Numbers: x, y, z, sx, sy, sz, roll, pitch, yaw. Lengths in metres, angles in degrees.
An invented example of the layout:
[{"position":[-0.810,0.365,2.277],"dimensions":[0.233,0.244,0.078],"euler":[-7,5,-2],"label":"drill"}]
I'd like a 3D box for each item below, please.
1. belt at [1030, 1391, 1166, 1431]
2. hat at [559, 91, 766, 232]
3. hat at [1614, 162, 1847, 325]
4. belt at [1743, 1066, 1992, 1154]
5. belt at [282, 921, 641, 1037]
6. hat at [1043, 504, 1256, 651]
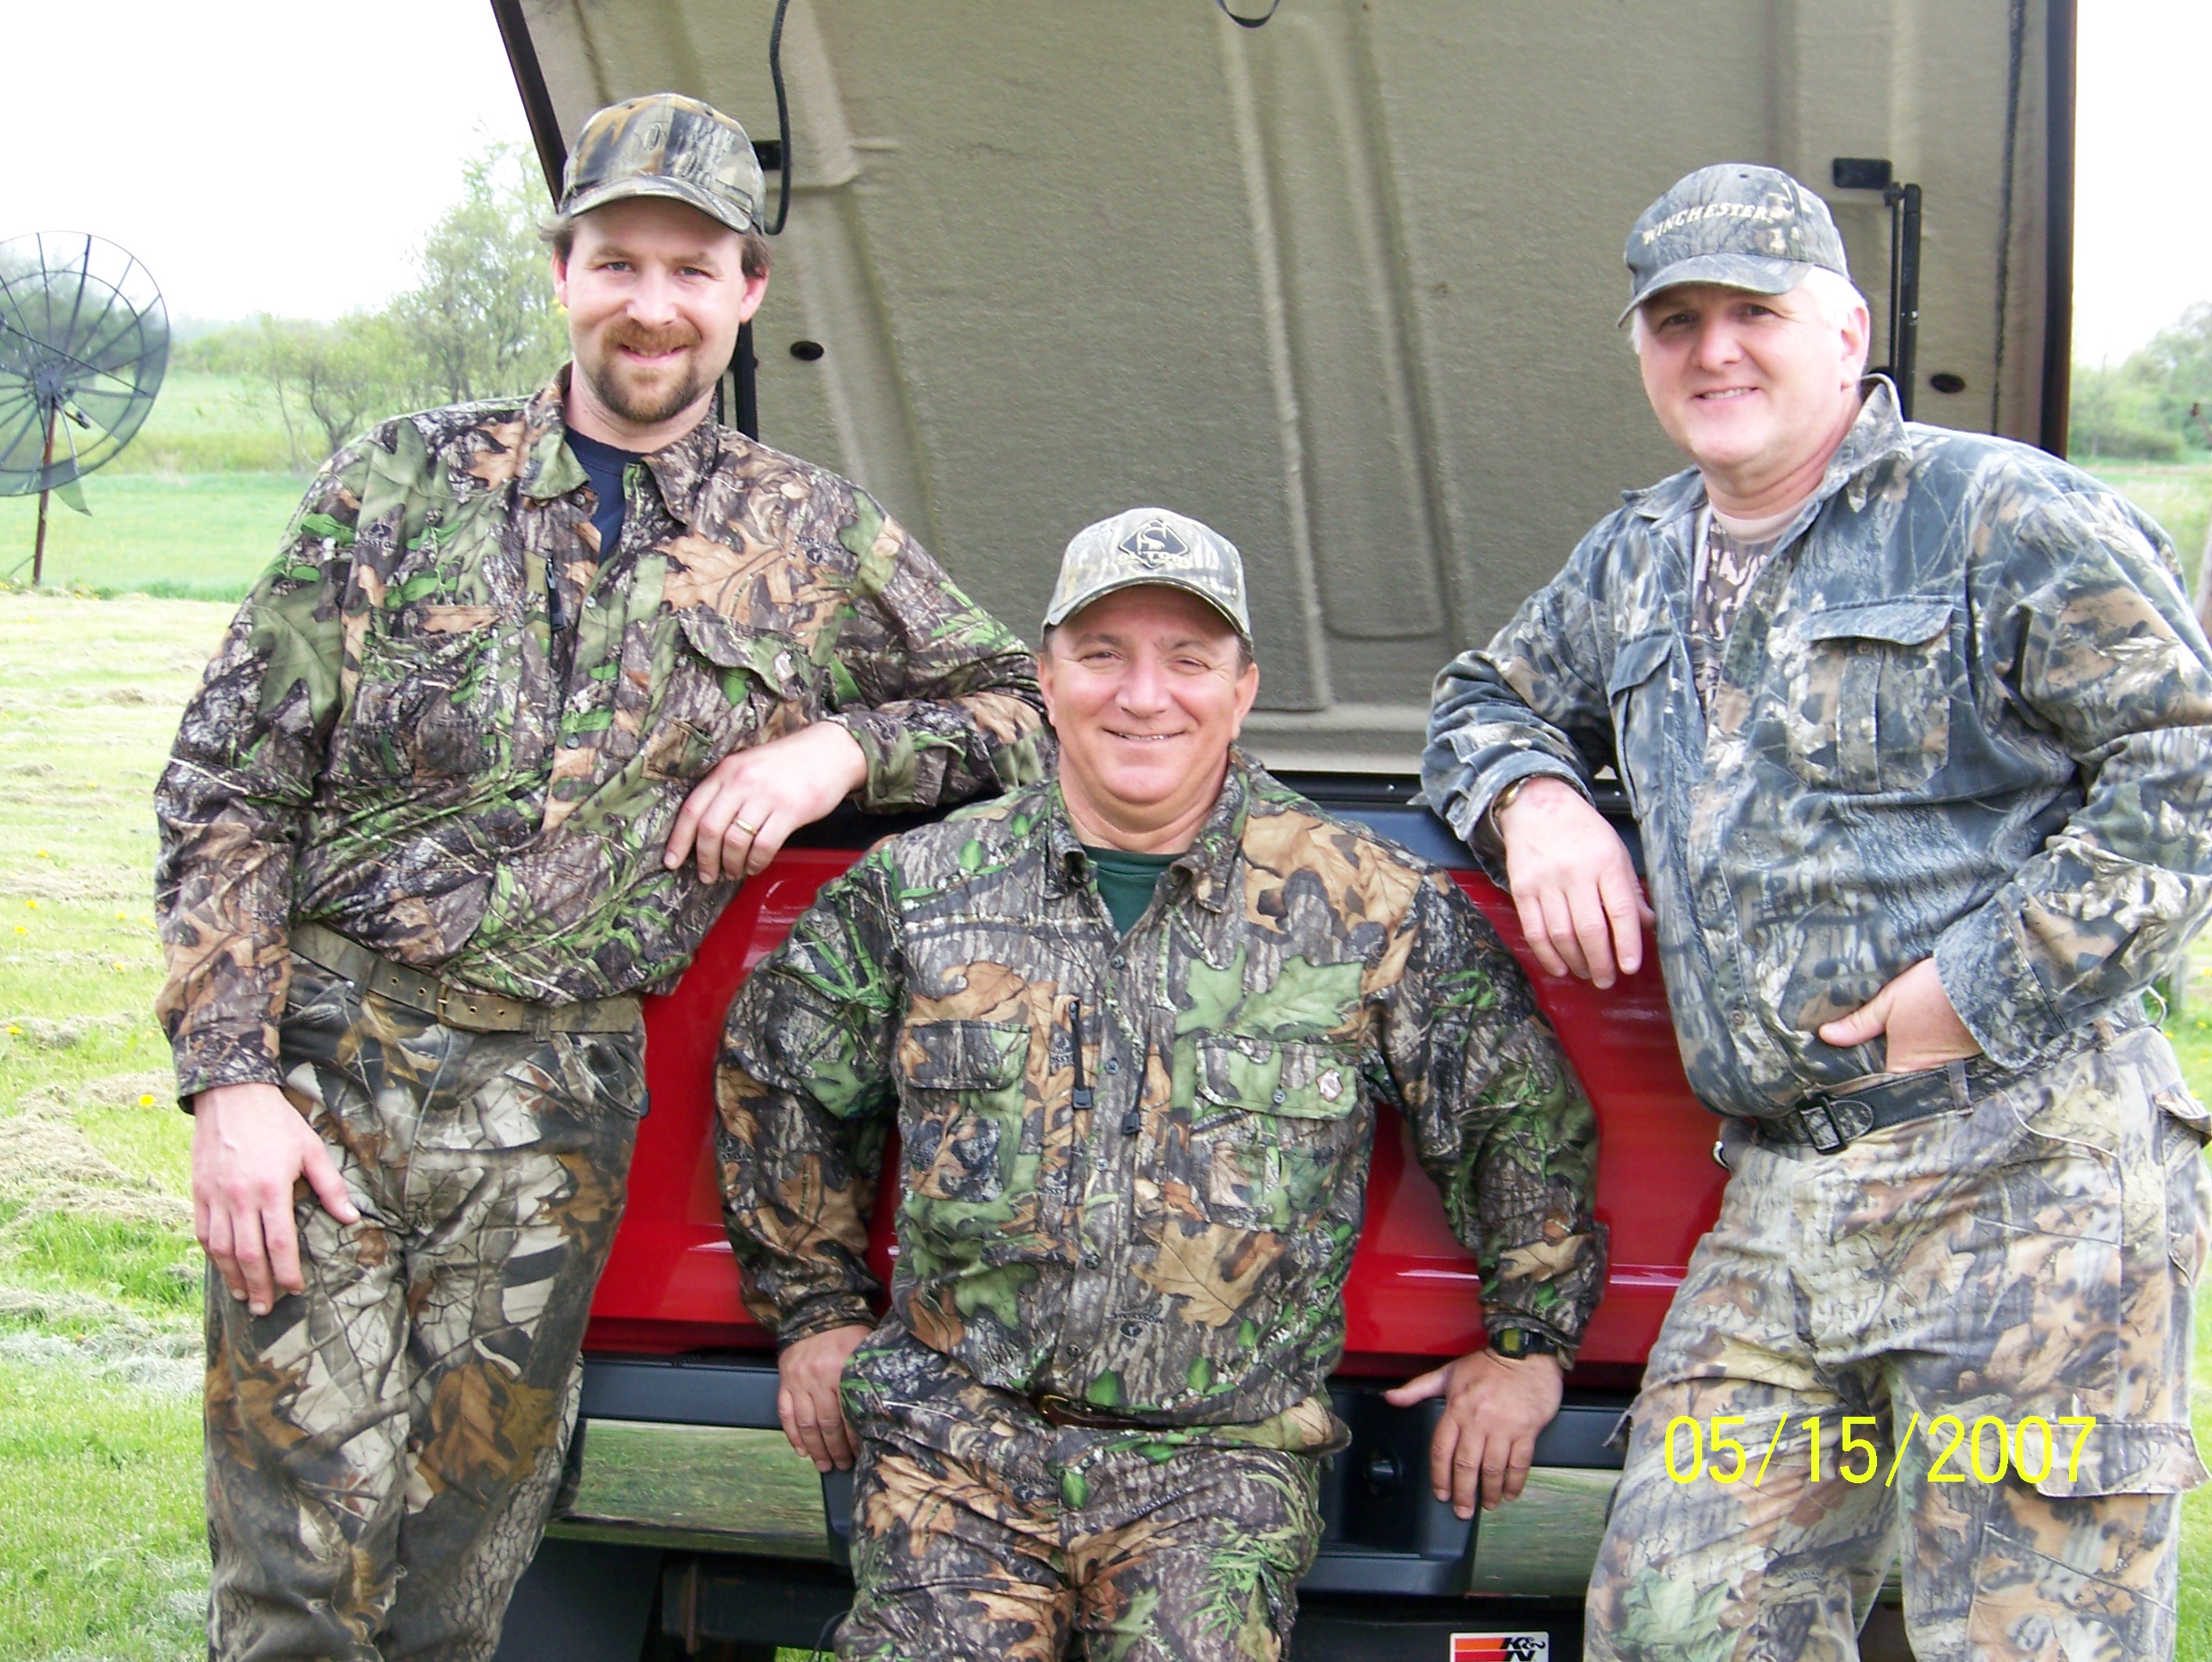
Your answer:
[{"position":[-0.013,0.778,3.365],"dimensions":[0.100,0.035,0.074],"euler":[4,2,5],"label":"belt"},{"position":[-0.635,-0.974,3.693],"dimensions":[0.296,0.187,0.391],"euler":[3,9,-6],"label":"hat"},{"position":[0.867,-0.790,3.383],"dimensions":[0.186,0.127,0.263],"euler":[-5,1,34],"label":"hat"},{"position":[0.999,0.354,3.258],"dimensions":[0.173,0.050,0.147],"euler":[-13,-10,-5],"label":"belt"},{"position":[-0.889,0.208,3.528],"dimensions":[0.467,0.142,0.134],"euler":[2,-1,-17],"label":"belt"},{"position":[0.068,-0.351,3.580],"dimensions":[0.299,0.200,0.398],"euler":[0,-11,5],"label":"hat"}]
